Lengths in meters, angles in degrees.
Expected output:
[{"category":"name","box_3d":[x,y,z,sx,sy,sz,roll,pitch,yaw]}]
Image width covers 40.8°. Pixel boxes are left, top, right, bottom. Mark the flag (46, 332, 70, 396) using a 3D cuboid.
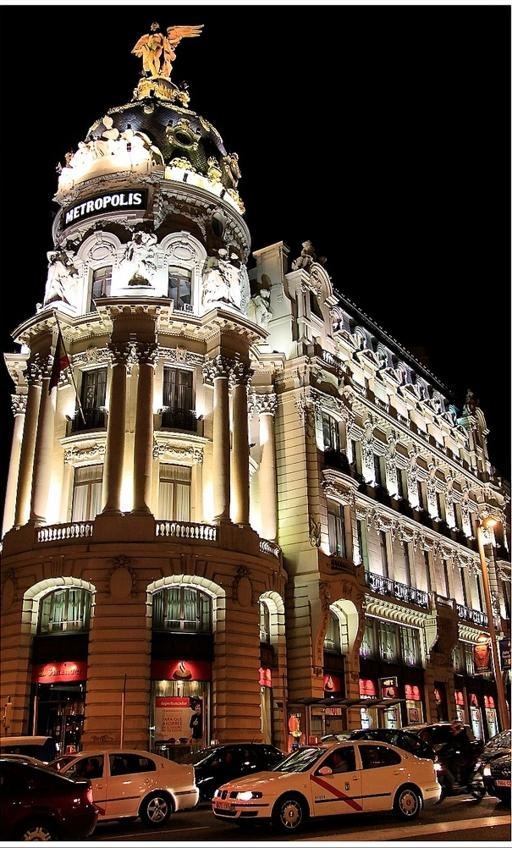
[{"category":"flag","box_3d":[-8.174,-2.499,28.243,0.200,1.170,2.768,18,-43,4]}]
